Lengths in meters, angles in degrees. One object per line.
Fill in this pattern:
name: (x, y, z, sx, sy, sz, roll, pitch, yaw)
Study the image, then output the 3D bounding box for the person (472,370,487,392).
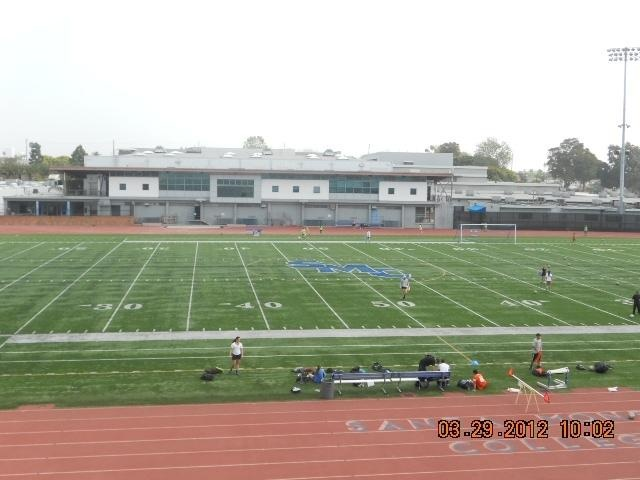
person: (6.568, 5.728, 28.483, 0.757, 0.247, 0.800, 1, 22, 4)

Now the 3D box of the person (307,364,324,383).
person: (-0.081, 5.591, 28.785, 0.707, 0.597, 0.738, 4, 8, -1)

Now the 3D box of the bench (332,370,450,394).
bench: (2.906, 5.748, 28.319, 4.763, 0.841, 0.809, 0, 15, -6)
